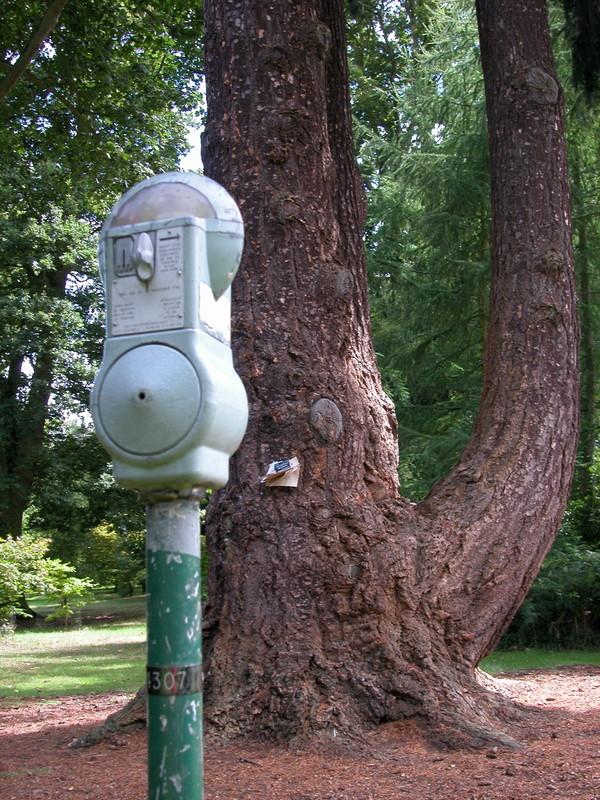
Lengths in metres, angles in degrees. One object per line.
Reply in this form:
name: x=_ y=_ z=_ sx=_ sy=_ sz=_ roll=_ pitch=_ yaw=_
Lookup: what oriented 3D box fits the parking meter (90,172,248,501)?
parking meter: x=-0.378 y=-0.218 z=3.026 sx=0.455 sy=0.984 sz=0.276 roll=2 pitch=-4 yaw=-6
